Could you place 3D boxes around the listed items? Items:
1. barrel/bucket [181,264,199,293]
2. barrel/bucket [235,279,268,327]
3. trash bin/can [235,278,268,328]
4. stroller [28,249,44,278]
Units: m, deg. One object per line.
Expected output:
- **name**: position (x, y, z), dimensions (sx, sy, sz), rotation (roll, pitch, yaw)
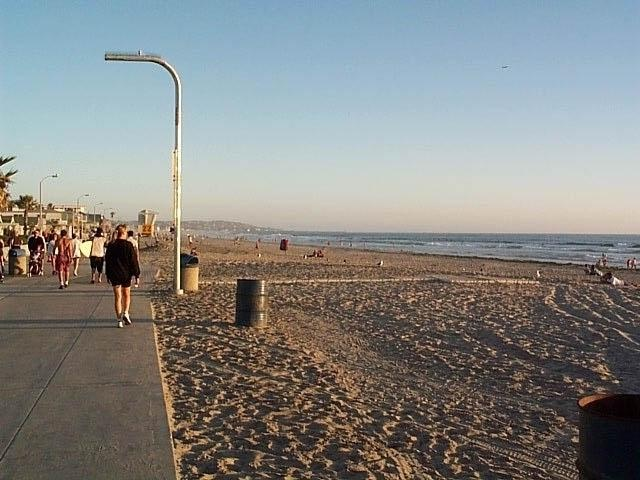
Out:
- **barrel/bucket**: position (-3.838, 1.135, 17.567), dimensions (0.545, 0.771, 0.561), rotation (5, 4, 0)
- **barrel/bucket**: position (-1.414, 1.335, 12.308), dimensions (0.890, 0.936, 0.909), rotation (1, -3, 0)
- **trash bin/can**: position (-1.439, 1.338, 12.309), dimensions (0.901, 0.943, 0.915), rotation (0, -3, 9)
- **stroller**: position (-9.699, 0.818, 20.099), dimensions (0.537, 0.606, 0.993), rotation (-1, 4, -16)
